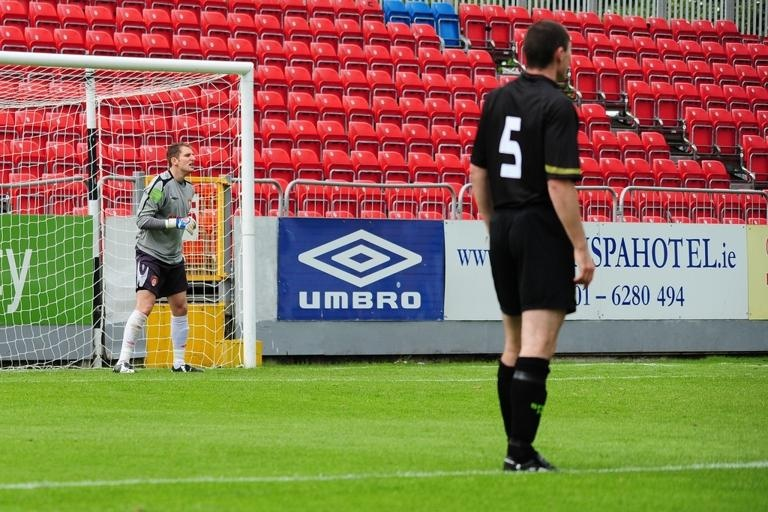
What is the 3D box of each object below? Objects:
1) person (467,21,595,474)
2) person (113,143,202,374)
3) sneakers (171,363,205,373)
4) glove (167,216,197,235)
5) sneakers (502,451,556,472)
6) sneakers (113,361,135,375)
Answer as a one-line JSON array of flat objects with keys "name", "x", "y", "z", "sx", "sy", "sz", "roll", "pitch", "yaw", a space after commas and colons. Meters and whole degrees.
[{"name": "person", "x": 1.462, "y": -0.107, "z": 11.559, "sx": 0.986, "sy": 4.161, "sz": 1.137, "roll": 0, "pitch": 11, "yaw": -2}, {"name": "person", "x": -2.900, "y": 0.052, "z": 15.431, "sx": 1.148, "sy": 2.923, "sz": 0.756, "roll": -7, "pitch": 13, "yaw": -32}, {"name": "sneakers", "x": -2.565, "y": 1.484, "z": 15.562, "sx": 0.463, "sy": 0.178, "sz": 0.154, "roll": -1, "pitch": -1, "yaw": -4}, {"name": "glove", "x": -2.579, "y": -0.368, "z": 15.273, "sx": 0.291, "sy": 0.224, "sz": 0.118, "roll": -10, "pitch": -37, "yaw": -11}, {"name": "sneakers", "x": 1.362, "y": 1.987, "z": 11.519, "sx": 0.534, "sy": 0.233, "sz": 0.186, "roll": 0, "pitch": -2, "yaw": -2}, {"name": "sneakers", "x": -3.310, "y": 1.445, "z": 15.323, "sx": 0.291, "sy": 0.131, "sz": 0.133, "roll": 1, "pitch": -1, "yaw": 2}]
